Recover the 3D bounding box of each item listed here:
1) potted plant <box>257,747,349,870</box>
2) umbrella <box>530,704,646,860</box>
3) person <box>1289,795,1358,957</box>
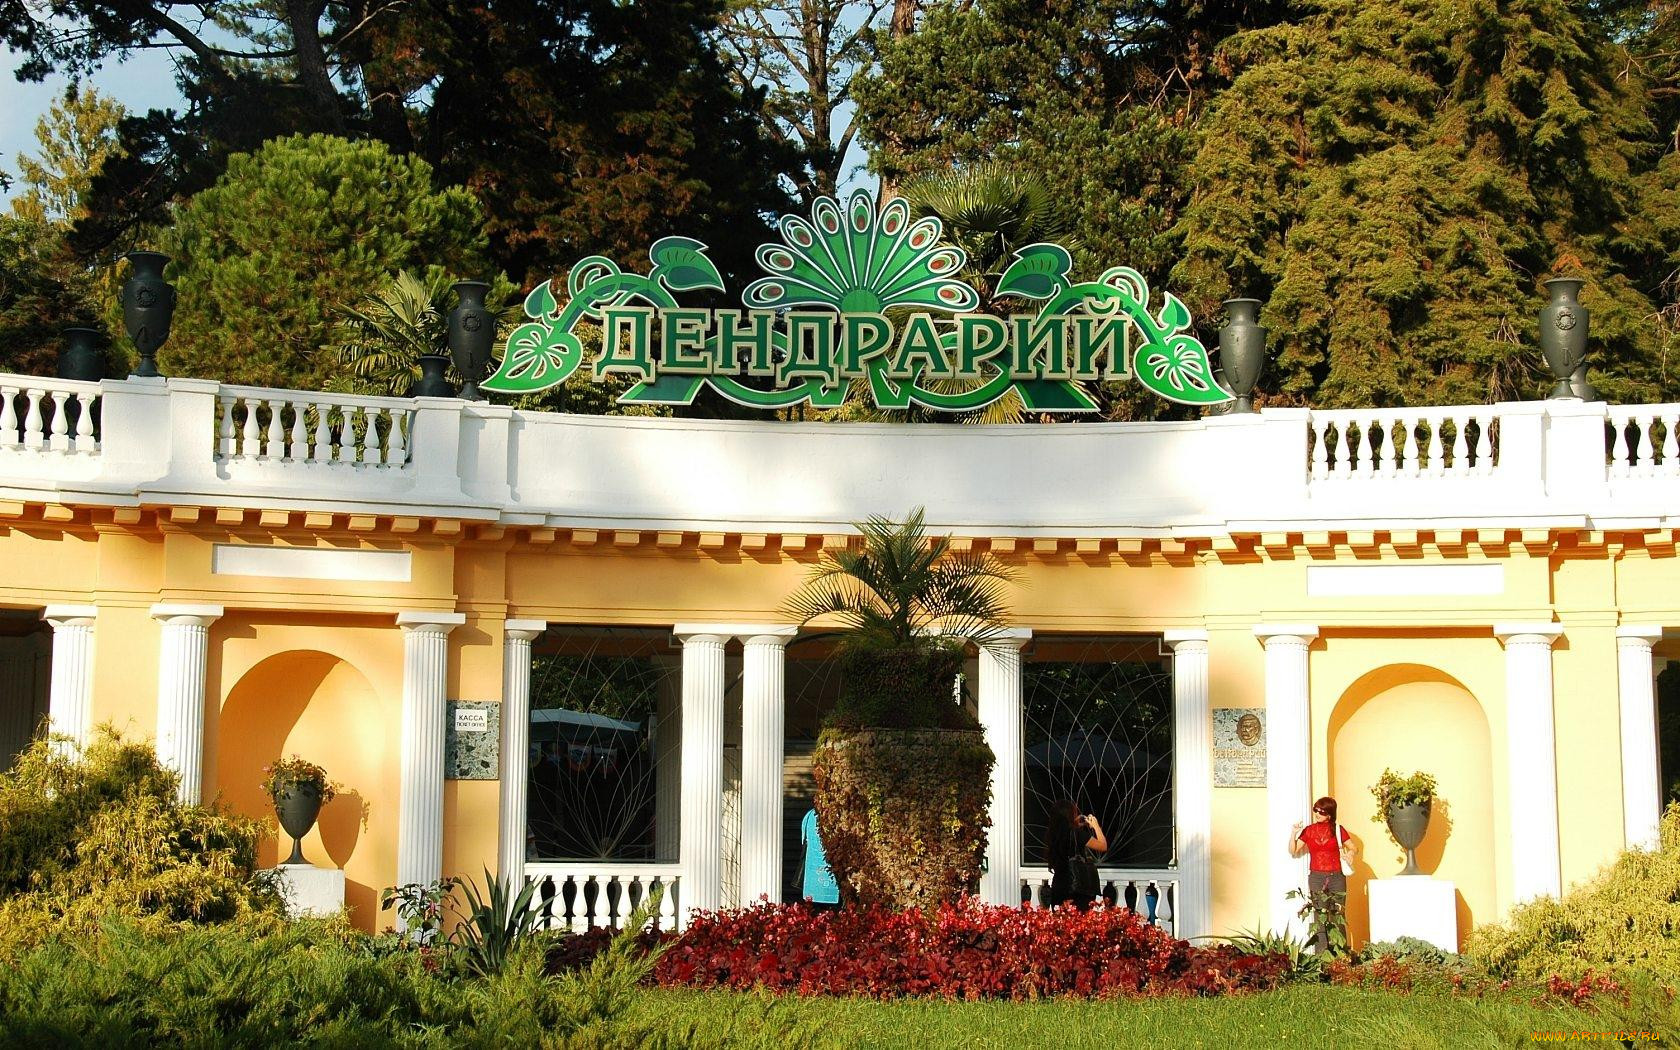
[{"bbox_3d":[-9.045,4.717,50.470,1.063,1.813,0.699,2,-8,-13],"label":"potted plant"},{"bbox_3d":[-4.655,4.818,56.794,2.502,2.830,2.106,3,-9,-16],"label":"umbrella"},{"bbox_3d":[8.093,5.770,50.199,0.822,2.687,0.690,-1,1,-4],"label":"person"}]
